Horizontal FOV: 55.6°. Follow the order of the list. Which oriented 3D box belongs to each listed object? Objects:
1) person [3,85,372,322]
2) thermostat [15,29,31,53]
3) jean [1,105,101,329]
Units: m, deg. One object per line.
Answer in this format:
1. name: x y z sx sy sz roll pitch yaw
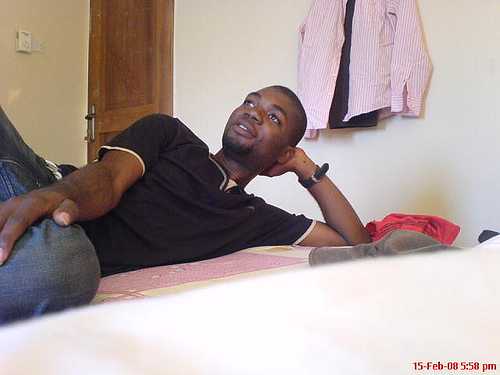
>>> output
1. person: -0.086 0.007 1.346 0.826 0.294 0.274 -4 -28 -42
2. thermostat: -1.456 -0.943 3.056 0.050 0.146 0.113 5 13 25
3. jean: -0.441 0.074 0.951 0.133 0.415 0.244 -36 -40 24
